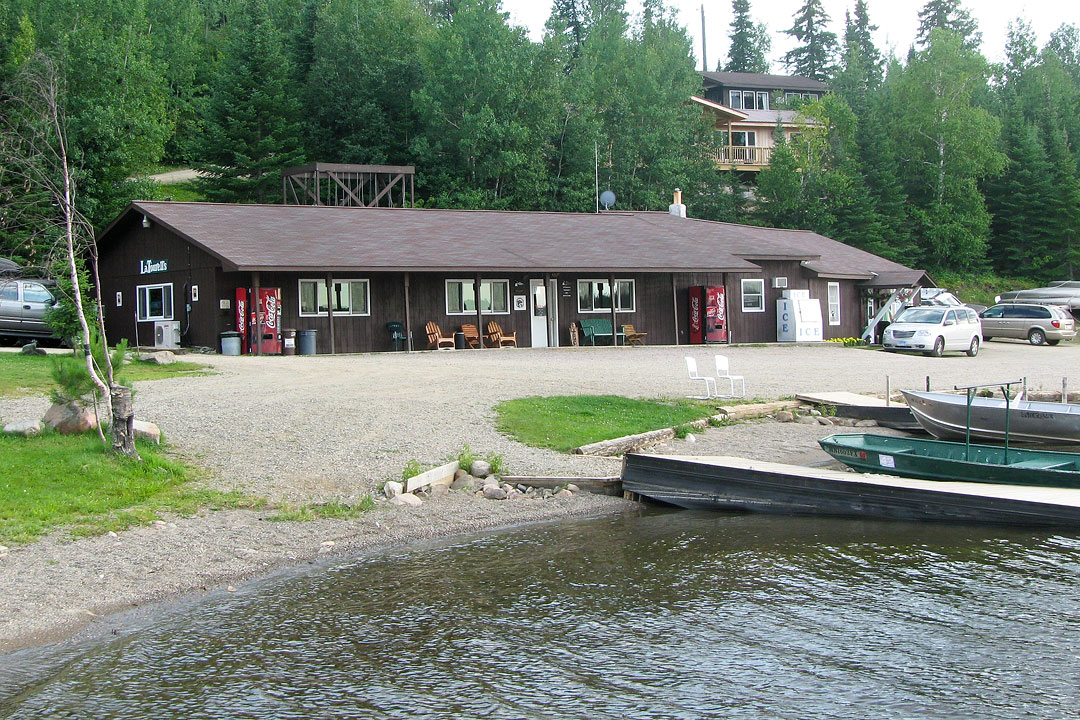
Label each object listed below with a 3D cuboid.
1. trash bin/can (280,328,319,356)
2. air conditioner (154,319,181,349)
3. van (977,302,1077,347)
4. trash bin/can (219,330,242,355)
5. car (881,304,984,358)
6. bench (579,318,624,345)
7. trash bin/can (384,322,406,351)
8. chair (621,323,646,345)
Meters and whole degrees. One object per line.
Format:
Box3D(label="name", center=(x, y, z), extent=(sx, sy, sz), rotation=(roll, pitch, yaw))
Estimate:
Box3D(label="trash bin/can", center=(-8.080, -0.589, 36.056), extent=(1.292, 0.799, 0.917), rotation=(0, -2, -26))
Box3D(label="air conditioner", center=(-12.847, -0.892, 37.100), extent=(0.616, 0.918, 1.133), rotation=(4, -3, -44))
Box3D(label="van", center=(22.247, -1.640, 48.297), extent=(4.420, 1.301, 2.157), rotation=(8, 8, 43))
Box3D(label="trash bin/can", center=(-10.044, -0.529, 34.852), extent=(0.817, 0.697, 0.753), rotation=(1, -6, -14))
Box3D(label="car", center=(15.351, -1.152, 40.845), extent=(2.017, 1.188, 3.231), rotation=(-1, -1, 45))
Box3D(label="bench", center=(2.432, -1.103, 42.126), extent=(1.823, 0.981, 1.125), rotation=(-3, 6, -33))
Box3D(label="trash bin/can", center=(-5.094, -0.832, 38.095), extent=(0.752, 0.984, 0.365), rotation=(-2, 3, -19))
Box3D(label="chair", center=(3.584, -1.008, 42.880), extent=(0.888, 0.848, 0.932), rotation=(-2, 3, -39))
